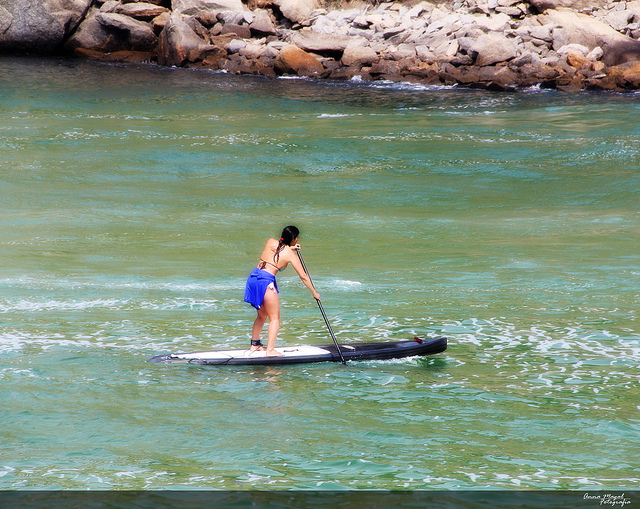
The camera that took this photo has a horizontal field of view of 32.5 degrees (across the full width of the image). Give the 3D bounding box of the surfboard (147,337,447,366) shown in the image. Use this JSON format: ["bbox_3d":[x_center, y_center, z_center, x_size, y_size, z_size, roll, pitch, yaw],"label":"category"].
[{"bbox_3d":[-0.492,2.112,23.643,4.525,0.251,0.557,-2,11,-3],"label":"surfboard"}]

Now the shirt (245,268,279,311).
[{"bbox_3d":[-1.236,0.730,23.050,0.652,0.883,0.241,2,10,6],"label":"shirt"}]
